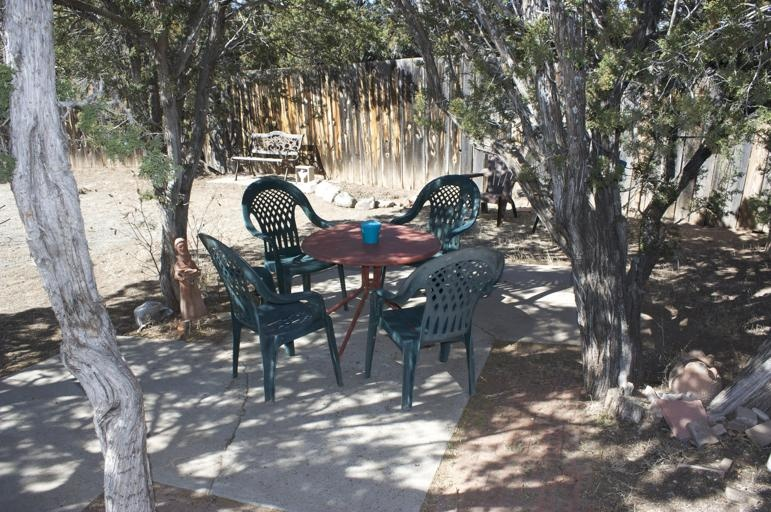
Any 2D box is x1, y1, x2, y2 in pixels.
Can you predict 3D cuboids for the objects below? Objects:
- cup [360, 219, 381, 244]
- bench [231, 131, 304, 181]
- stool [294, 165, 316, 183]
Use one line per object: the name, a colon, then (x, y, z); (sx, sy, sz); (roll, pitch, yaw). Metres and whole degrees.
cup: (-0.121, -0.208, 5.240); (0.183, 0.219, 0.187); (1, 14, 0)
bench: (-2.528, -2.275, 13.297); (0.887, 0.966, 1.986); (-12, 16, -42)
stool: (-1.675, -1.757, 12.640); (0.380, 0.410, 0.391); (1, 19, 1)
